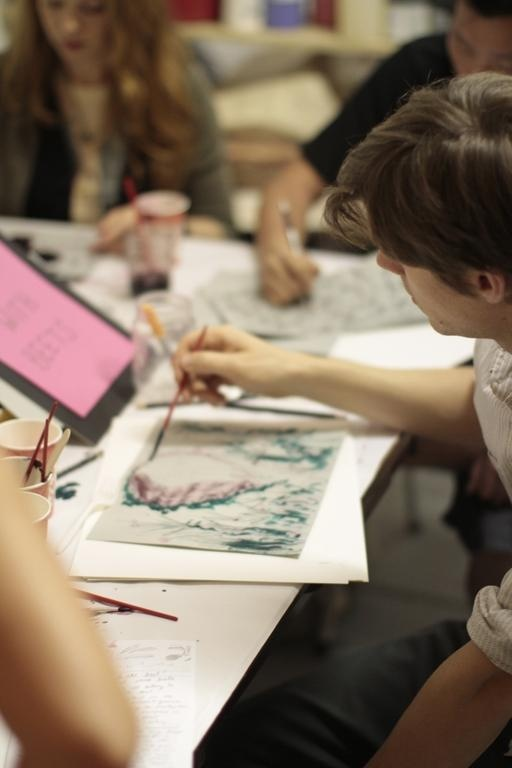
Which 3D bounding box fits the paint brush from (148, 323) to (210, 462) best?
[{"bbox_3d":[-0.089,0.012,0.860,0.012,0.014,0.178,-5,58,45],"label":"paint brush"}]
